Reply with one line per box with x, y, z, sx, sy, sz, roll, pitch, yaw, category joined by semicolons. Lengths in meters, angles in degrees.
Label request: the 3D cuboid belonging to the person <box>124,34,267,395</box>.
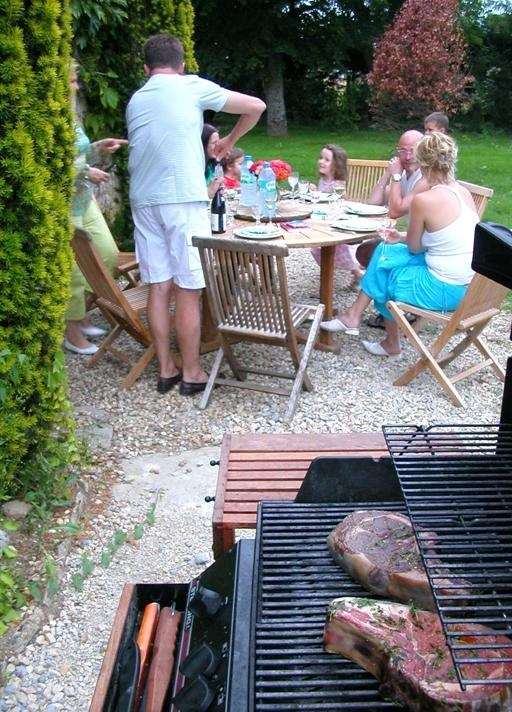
-0.419;-0.982;3.870;0.904;2.352;0.712;-2;11;-8;person

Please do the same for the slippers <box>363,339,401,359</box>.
1.014;-0.064;4.436;0.112;0.110;0.288;-27;32;-38;slippers

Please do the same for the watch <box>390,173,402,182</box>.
1.203;-1.533;4.707;0.061;0.075;0.074;-3;-13;5;watch

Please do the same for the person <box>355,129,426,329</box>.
1.285;-1.100;5.287;0.755;1.968;0.709;-11;31;-22;person

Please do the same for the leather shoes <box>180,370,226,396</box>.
-0.378;0.204;4.002;0.117;0.138;0.359;18;30;41;leather shoes

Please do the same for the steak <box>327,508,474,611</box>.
0.264;0.414;1.138;0.131;0.053;0.262;-16;16;-24;steak

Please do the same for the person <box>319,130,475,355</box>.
1.021;-0.750;3.987;0.772;1.751;0.642;-4;9;-26;person

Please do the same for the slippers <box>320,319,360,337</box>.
0.726;-0.238;4.553;0.366;0.125;0.136;11;1;-20;slippers

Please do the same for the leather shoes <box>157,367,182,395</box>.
-0.621;0.189;3.974;0.082;0.095;0.242;6;25;20;leather shoes

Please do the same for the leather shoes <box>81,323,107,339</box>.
-1.390;-0.220;4.743;0.243;0.100;0.085;1;28;-14;leather shoes
